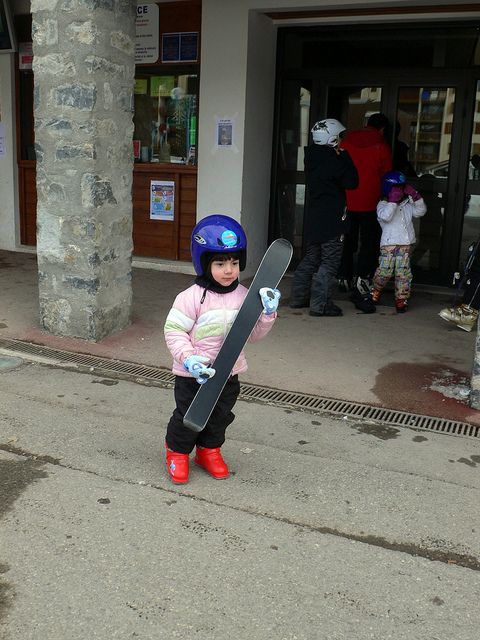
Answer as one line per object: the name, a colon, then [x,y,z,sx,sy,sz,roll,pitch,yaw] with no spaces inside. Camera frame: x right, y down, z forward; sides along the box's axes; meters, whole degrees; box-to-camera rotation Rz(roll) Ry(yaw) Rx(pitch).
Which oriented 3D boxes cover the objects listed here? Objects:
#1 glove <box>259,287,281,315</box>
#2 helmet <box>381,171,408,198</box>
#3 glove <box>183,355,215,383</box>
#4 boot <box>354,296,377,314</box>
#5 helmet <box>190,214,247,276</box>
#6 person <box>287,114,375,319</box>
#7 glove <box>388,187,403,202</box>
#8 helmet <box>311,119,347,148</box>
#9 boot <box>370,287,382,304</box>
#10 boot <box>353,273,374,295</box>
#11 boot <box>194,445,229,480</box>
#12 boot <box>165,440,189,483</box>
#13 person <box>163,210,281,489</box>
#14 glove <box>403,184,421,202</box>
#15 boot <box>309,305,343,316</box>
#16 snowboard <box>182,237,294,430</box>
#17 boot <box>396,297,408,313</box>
glove: [0.119,-0.074,2.397,0.088,0.101,0.036,11,-13,-26]
helmet: [1.408,-1.275,5.591,0.283,0.244,0.216,8,24,40]
glove: [-0.149,0.183,2.226,0.121,0.080,0.031,39,-18,2]
boot: [1.236,-0.158,5.900,0.204,0.135,0.371,5,12,10]
helmet: [-0.092,-0.330,2.487,0.224,0.221,0.256,-6,36,-17]
person: [0.926,-1.046,6.075,0.769,1.816,1.552,5,13,5]
glove: [1.431,-1.156,5.524,0.105,0.132,0.043,7,-10,-5]
helmet: [0.786,-1.738,5.542,0.327,0.231,0.214,-5,38,-6]
boot: [1.334,-0.249,5.919,0.096,0.121,0.120,41,10,-16]
boot: [1.249,-0.362,6.035,0.172,0.204,0.344,5,13,7]
boot: [-0.133,0.611,2.652,0.084,0.133,0.212,-9,20,-40]
boot: [-0.281,0.613,2.573,0.072,0.077,0.185,4,25,-25]
person: [-0.083,0.144,2.520,0.524,1.068,0.449,0,13,-13]
glove: [1.624,-1.216,5.702,0.260,0.081,0.043,35,-2,-23]
boot: [0.787,-0.108,5.659,0.327,0.117,0.103,-3,21,-11]
snowboard: [0.006,0.051,2.423,0.176,0.746,0.473,14,17,35]
boot: [1.553,-0.144,5.810,0.066,0.174,0.139,15,7,40]
